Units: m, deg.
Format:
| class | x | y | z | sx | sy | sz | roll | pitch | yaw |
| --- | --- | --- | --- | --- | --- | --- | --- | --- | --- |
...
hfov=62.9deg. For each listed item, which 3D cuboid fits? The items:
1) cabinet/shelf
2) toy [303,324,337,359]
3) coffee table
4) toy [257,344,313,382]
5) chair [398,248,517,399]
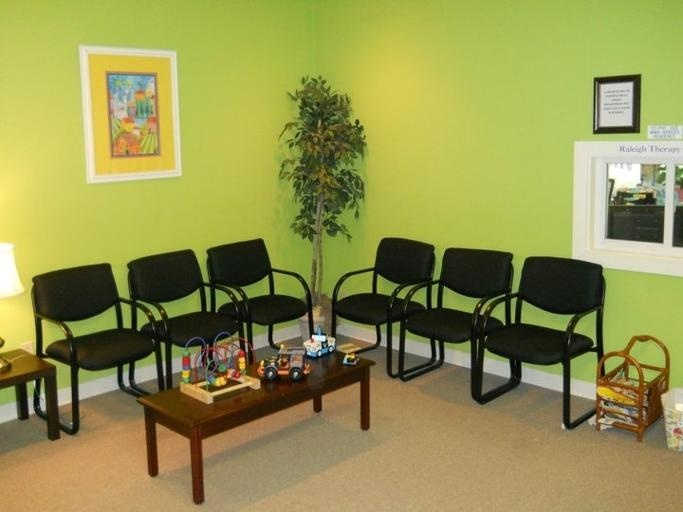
| class | x | y | z | sx | sy | sz | roll | pitch | yaw |
| --- | --- | --- | --- | --- | --- | --- | --- | --- | --- |
| cabinet/shelf | 2.183 | 1.006 | 4.150 | 0.511 | 0.912 | 0.562 | 4 | 9 | 42 |
| toy | -0.182 | 0.679 | 4.324 | 0.173 | 0.200 | 0.247 | 0 | 0 | 38 |
| coffee table | -0.556 | 1.135 | 3.863 | 1.493 | 0.560 | 0.549 | -9 | 15 | -31 |
| toy | -0.413 | 0.754 | 3.942 | 0.292 | 0.194 | 0.236 | 1 | -2 | -1 |
| chair | 1.082 | 0.516 | 5.092 | 1.011 | 1.692 | 1.126 | 3 | 5 | 39 |
